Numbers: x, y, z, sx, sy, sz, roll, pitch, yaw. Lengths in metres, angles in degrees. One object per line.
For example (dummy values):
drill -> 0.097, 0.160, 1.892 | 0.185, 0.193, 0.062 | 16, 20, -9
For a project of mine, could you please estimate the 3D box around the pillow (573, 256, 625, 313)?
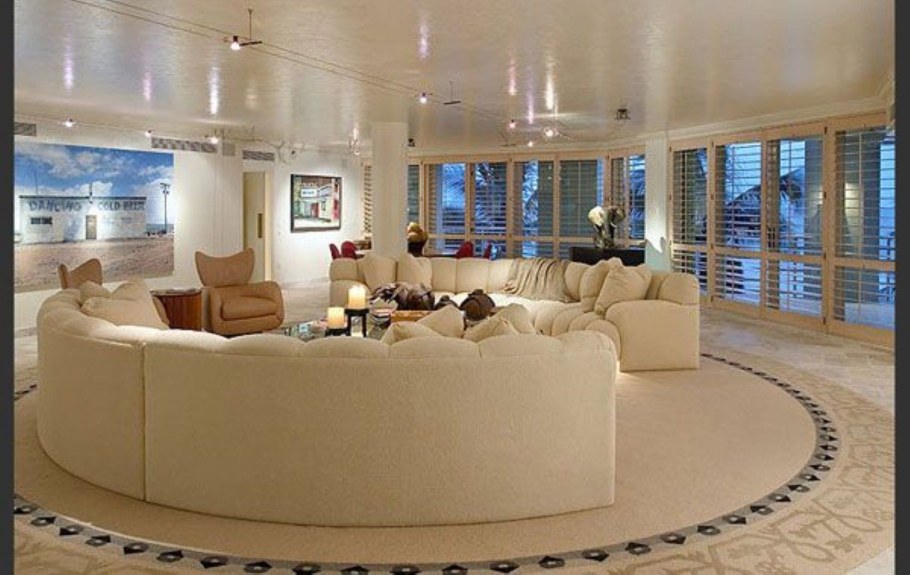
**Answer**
pillow -> 1.592, -0.038, 6.319 | 0.218, 0.523, 0.538 | 16, -5, -23

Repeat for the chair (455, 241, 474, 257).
chair -> 0.183, -0.646, 10.088 | 0.157, 0.265, 0.509 | 12, -9, -5

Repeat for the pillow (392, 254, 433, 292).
pillow -> -0.545, -0.169, 7.238 | 0.532, 0.495, 0.278 | 3, -3, -33

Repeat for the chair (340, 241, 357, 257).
chair -> -1.894, -0.650, 10.239 | 0.255, 0.290, 0.322 | 5, 11, -17

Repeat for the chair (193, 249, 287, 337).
chair -> -2.693, 0.090, 7.014 | 1.047, 1.016, 0.959 | 6, 10, 28

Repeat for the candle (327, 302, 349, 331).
candle -> -1.074, 0.242, 5.060 | 0.225, 0.241, 0.227 | 0, 2, -1
